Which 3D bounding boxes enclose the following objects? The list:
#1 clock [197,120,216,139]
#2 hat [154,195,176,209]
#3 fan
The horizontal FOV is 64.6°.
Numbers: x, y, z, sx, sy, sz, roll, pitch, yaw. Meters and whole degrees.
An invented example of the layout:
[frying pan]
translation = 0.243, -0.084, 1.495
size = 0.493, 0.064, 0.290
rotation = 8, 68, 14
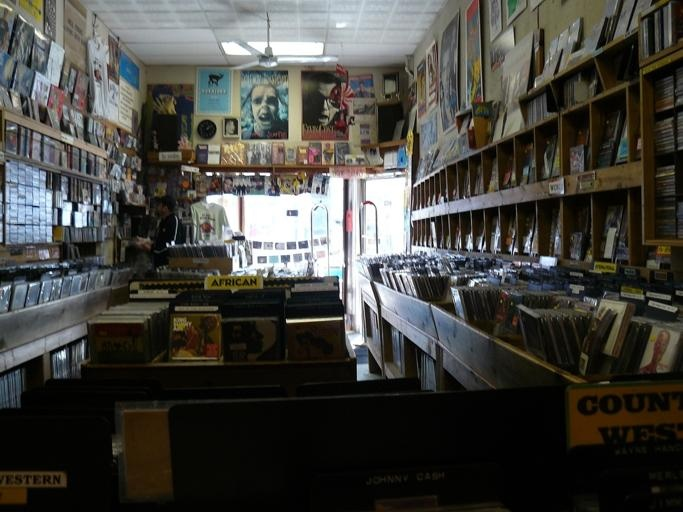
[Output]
[clock]
translation = -1.956, -1.882, 7.934
size = 0.237, 0.278, 0.060
rotation = -4, -1, -3
[hat]
translation = -2.159, -0.678, 6.664
size = 0.186, 0.224, 0.156
rotation = -1, 11, 42
[fan]
translation = -0.869, -2.555, 6.370
size = 1.117, 0.436, 0.934
rotation = -3, 10, -33
